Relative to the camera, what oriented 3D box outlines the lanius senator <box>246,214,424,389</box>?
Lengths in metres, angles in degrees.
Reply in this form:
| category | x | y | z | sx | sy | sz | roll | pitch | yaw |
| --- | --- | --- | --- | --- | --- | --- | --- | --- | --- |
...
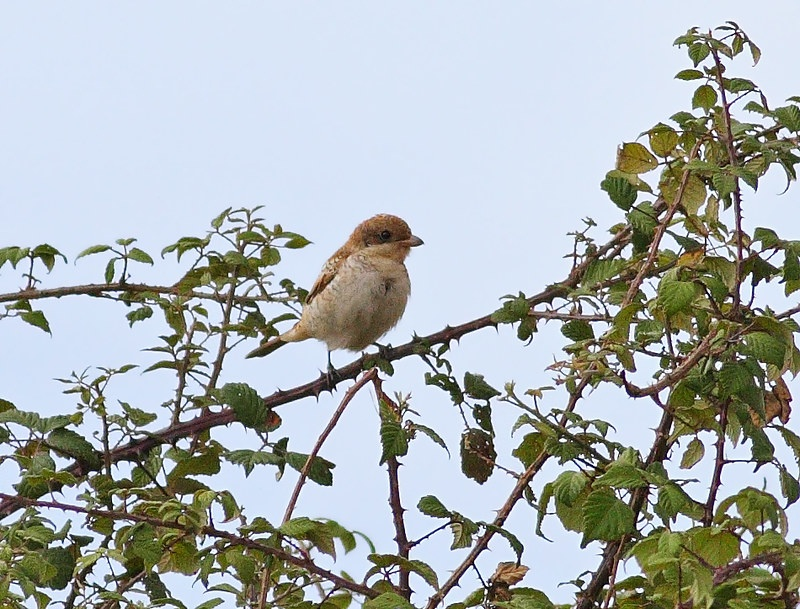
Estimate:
| category | x | y | z | sx | sy | sz | roll | pitch | yaw |
| --- | --- | --- | --- | --- | --- | --- | --- | --- | --- |
| lanius senator | -0.222 | -0.102 | 5.486 | 0.905 | 0.529 | 0.837 | -10 | -94 | 1 |
